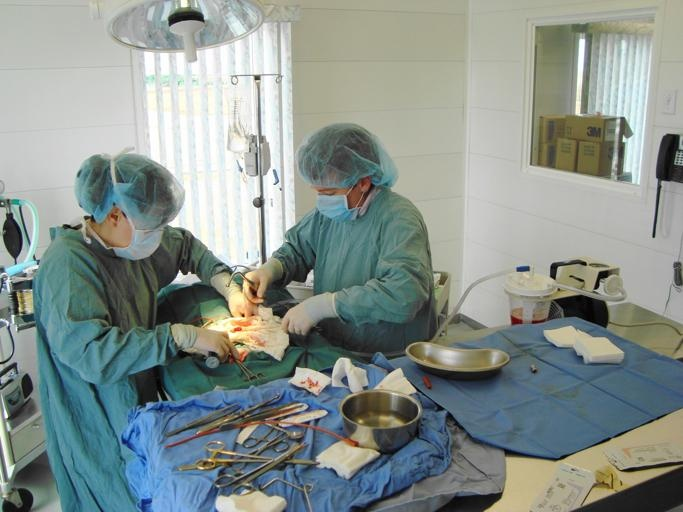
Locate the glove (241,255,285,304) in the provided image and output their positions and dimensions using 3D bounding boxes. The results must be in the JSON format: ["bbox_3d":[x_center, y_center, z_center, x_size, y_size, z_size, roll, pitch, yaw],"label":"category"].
[{"bbox_3d":[-0.373,0.127,2.592,0.110,0.112,0.173,25,28,6],"label":"glove"}]

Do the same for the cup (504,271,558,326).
[{"bbox_3d":[0.777,0.194,2.242,0.174,0.223,0.187,-3,20,1],"label":"cup"}]

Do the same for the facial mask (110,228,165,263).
[{"bbox_3d":[-0.810,-0.060,2.145,0.109,0.148,0.140,-13,14,35],"label":"facial mask"}]

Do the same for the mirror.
[{"bbox_3d":[1.590,-0.989,3.398,0.062,1.354,1.063,-7,13,-28],"label":"mirror"}]

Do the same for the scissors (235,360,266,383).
[{"bbox_3d":[-0.350,0.431,2.048,0.042,0.016,0.132,-3,18,-27],"label":"scissors"}]

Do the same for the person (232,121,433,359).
[{"bbox_3d":[0.005,-0.055,2.482,0.916,1.101,0.767,13,23,43],"label":"person"}]

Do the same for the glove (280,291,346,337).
[{"bbox_3d":[-0.133,0.239,2.211,0.196,0.090,0.160,-26,17,2],"label":"glove"}]
